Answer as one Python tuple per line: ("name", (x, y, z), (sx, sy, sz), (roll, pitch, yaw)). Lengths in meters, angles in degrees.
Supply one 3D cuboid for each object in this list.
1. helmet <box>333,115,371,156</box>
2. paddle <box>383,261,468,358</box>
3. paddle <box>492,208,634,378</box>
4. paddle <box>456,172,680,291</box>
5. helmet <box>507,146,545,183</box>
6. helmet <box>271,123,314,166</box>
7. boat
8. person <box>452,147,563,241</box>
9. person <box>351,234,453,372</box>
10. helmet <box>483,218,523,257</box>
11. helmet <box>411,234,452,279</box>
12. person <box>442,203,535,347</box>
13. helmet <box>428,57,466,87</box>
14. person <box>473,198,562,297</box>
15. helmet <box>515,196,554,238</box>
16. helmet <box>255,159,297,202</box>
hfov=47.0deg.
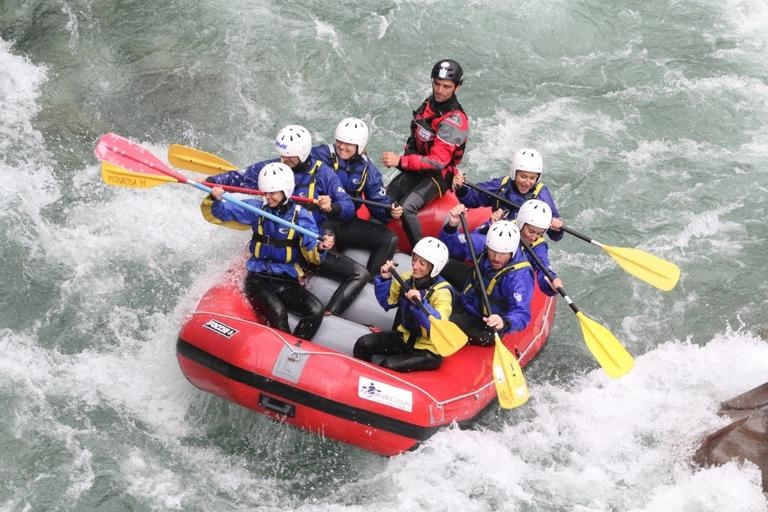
("helmet", (-0.365, -1.501, 10.939), (0.327, 0.289, 0.309), (17, 91, -28))
("paddle", (0.399, 0.515, 10.121), (0.470, 0.182, 1.566), (-36, 68, -4))
("paddle", (2.098, 0.446, 10.649), (0.429, 0.509, 2.433), (-37, 66, -9))
("paddle", (2.392, -0.265, 11.617), (2.994, 0.416, 0.194), (29, 24, 9))
("helmet", (1.790, -1.170, 11.127), (0.320, 0.364, 0.417), (5, 36, -4))
("helmet", (-1.114, -1.342, 10.712), (0.455, 0.447, 0.520), (-2, 18, 8))
("boat", (-0.402, 0.963, 11.948), (3.763, 1.365, 4.468), (19, 24, 14))
("person", (1.597, -0.708, 11.255), (1.464, 1.217, 0.814), (16, 38, 15))
("person", (0.306, 0.744, 10.239), (1.010, 1.806, 0.974), (-8, 24, -37))
("helmet", (1.376, -0.219, 10.137), (0.300, 0.416, 0.317), (25, 85, 15))
("helmet", (0.620, 0.029, 10.084), (0.351, 0.463, 0.393), (33, 97, 42))
("person", (1.246, 0.298, 10.449), (0.898, 1.254, 1.093), (-39, 81, -22))
("helmet", (0.846, -2.329, 11.360), (0.385, 0.286, 0.345), (24, 91, -18))
("person", (1.724, -0.112, 10.495), (0.985, 1.121, 0.446), (28, 47, 36))
("helmet", (1.779, -0.477, 10.575), (0.319, 0.350, 0.401), (10, 41, -14))
("helmet", (-1.220, -0.868, 10.303), (0.350, 0.438, 0.371), (13, 68, 26))
